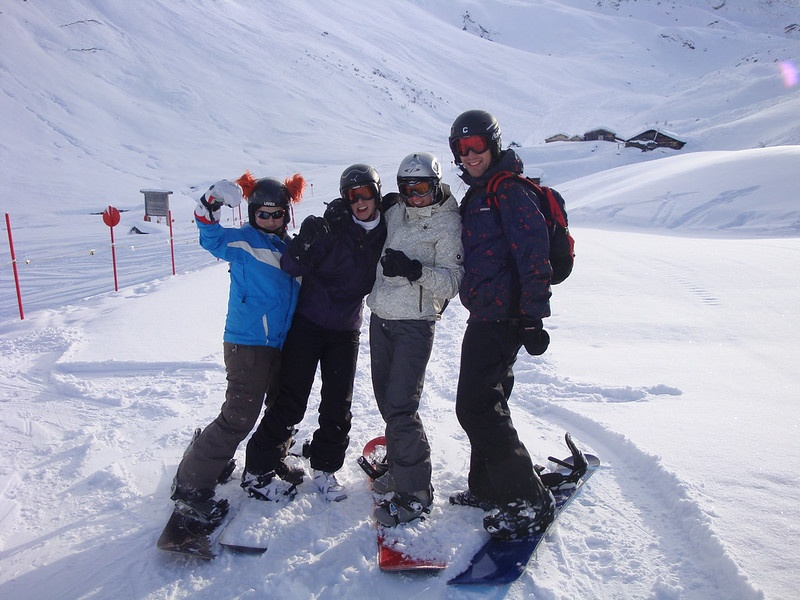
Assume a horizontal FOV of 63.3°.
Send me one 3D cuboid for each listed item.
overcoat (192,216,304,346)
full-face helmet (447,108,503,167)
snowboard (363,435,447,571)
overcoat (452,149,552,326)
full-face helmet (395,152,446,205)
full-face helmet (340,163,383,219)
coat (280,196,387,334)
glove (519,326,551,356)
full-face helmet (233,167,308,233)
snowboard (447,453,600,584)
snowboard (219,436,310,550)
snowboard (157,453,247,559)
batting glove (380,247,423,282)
[{"bbox_3d":[-1.570,-0.134,6.583,0.585,0.988,1.934,-10,-17,25],"label":"overcoat"},{"bbox_3d":[0.692,-1.480,5.946,0.483,0.484,0.527,-4,22,22],"label":"full-face helmet"},{"bbox_3d":[0.031,1.827,5.701,0.514,0.159,1.401,-11,50,-19],"label":"snowboard"},{"bbox_3d":[0.915,-0.538,5.612,0.937,1.475,0.509,8,13,19],"label":"overcoat"},{"bbox_3d":[0.181,-1.105,5.901,0.465,0.453,0.522,2,20,14],"label":"full-face helmet"},{"bbox_3d":[-0.359,-1.017,5.982,0.418,0.473,0.452,-6,19,20],"label":"full-face helmet"},{"bbox_3d":[-0.450,-0.367,5.960,1.109,1.273,0.898,9,1,-14],"label":"coat"},{"bbox_3d":[1.144,0.349,5.493,0.209,0.239,0.107,1,-1,16],"label":"glove"},{"bbox_3d":[-1.200,-0.906,6.026,0.620,0.508,0.397,1,15,-11],"label":"full-face helmet"},{"bbox_3d":[1.009,1.978,5.587,0.502,0.165,1.906,15,33,33],"label":"snowboard"},{"bbox_3d":[-1.223,1.770,5.938,0.357,0.456,1.117,28,21,-8],"label":"snowboard"},{"bbox_3d":[-1.750,1.856,5.615,0.531,0.553,0.536,4,12,2],"label":"snowboard"},{"bbox_3d":[-0.008,-0.294,5.541,0.363,0.214,0.142,28,8,17],"label":"batting glove"}]
